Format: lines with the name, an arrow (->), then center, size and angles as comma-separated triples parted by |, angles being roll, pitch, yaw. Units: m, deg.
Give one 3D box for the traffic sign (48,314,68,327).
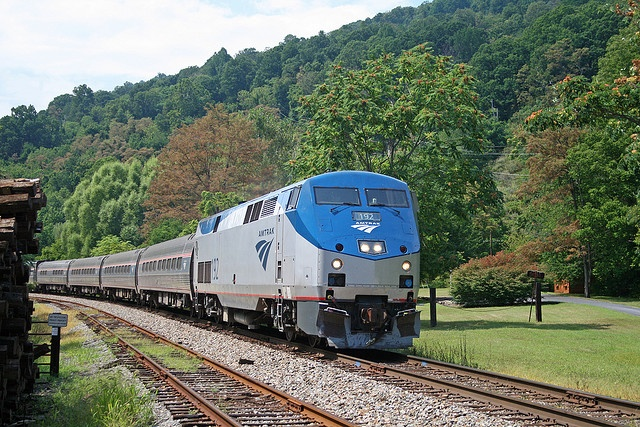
traffic sign -> -7.248, 2.966, 15.969 | 0.479, 0.417, 0.535 | 1, -6, -13
